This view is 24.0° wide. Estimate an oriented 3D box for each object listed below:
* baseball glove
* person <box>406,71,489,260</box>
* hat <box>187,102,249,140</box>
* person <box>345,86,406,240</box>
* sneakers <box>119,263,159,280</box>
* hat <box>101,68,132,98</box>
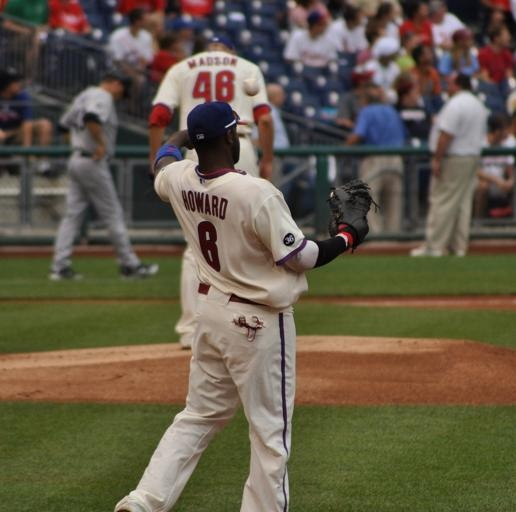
[{"bbox_3d":[0.447,-0.177,5.274,0.131,0.213,0.278,22,35,-32],"label":"baseball glove"},{"bbox_3d":[1.015,-0.420,6.487,0.333,0.889,0.158,4,9,14],"label":"person"},{"bbox_3d":[-0.191,-0.559,5.050,0.137,0.112,0.190,-1,36,27],"label":"hat"},{"bbox_3d":[0.949,-0.731,9.829,0.457,1.264,0.378,-3,6,-33],"label":"person"},{"bbox_3d":[-0.912,0.118,9.342,0.298,0.142,0.103,-8,0,-4],"label":"sneakers"},{"bbox_3d":[-0.982,-1.188,8.397,0.180,0.188,0.138,-14,23,-42],"label":"hat"}]
